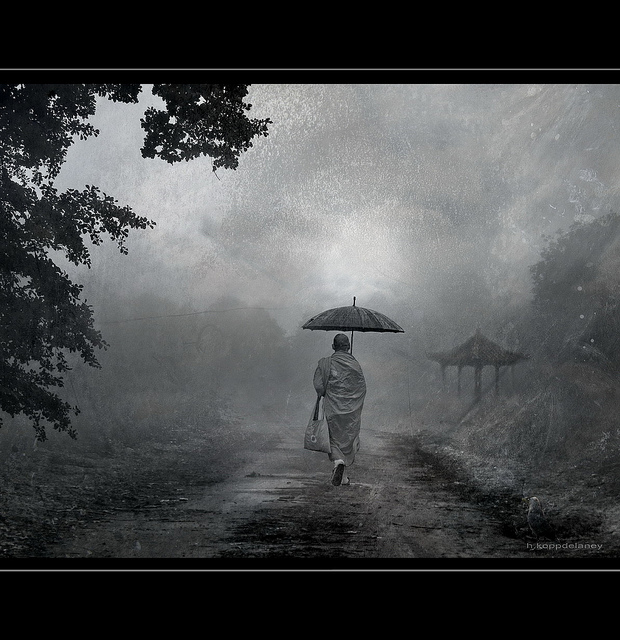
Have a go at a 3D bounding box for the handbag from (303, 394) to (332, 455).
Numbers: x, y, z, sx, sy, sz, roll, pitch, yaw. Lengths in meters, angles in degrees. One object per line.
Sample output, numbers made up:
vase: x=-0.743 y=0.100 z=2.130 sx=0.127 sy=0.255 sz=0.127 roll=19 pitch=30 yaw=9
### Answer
handbag: x=0.064 y=0.921 z=6.708 sx=0.237 sy=0.639 sz=0.092 roll=1 pitch=-38 yaw=5
